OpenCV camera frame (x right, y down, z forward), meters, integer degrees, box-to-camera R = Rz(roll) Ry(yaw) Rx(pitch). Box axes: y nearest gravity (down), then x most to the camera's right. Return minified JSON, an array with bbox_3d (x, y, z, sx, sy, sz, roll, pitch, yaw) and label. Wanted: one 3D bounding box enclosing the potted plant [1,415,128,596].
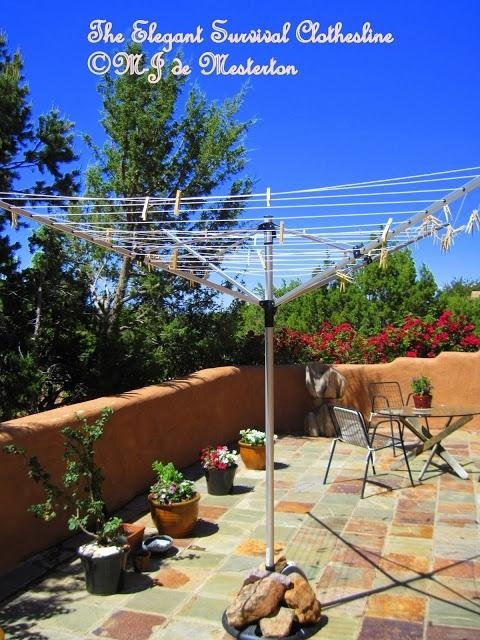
[{"bbox_3d":[-1.185,1.188,3.212,0.738,1.111,1.374,1,-8,-14],"label":"potted plant"}]
